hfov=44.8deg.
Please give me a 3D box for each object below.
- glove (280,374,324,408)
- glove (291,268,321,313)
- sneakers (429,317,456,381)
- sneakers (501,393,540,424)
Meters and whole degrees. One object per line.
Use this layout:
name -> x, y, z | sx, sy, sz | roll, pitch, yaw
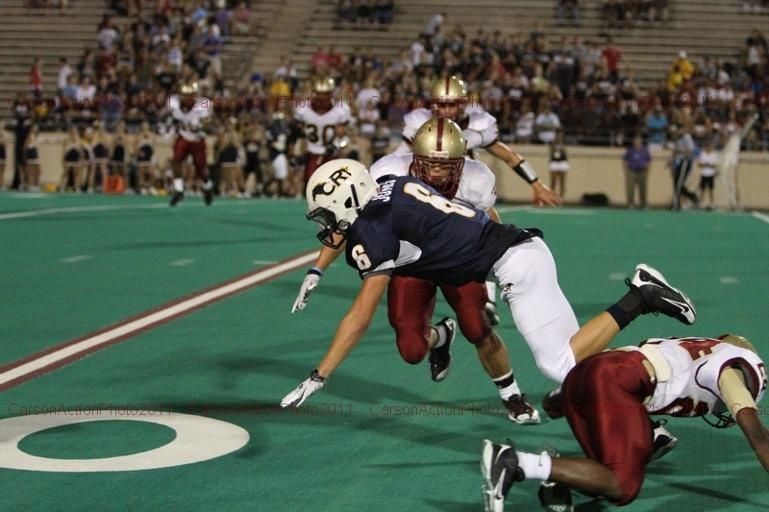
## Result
glove -> -0.451, 0.873, 5.760 | 0.303, 0.078, 0.191 | -35, 24, -18
glove -> -0.665, 0.319, 8.057 | 0.118, 0.382, 0.251 | 33, -1, -10
sneakers -> 0.464, 0.704, 7.025 | 0.162, 0.460, 0.210 | 5, -3, 41
sneakers -> 0.946, 1.072, 6.529 | 0.156, 0.119, 0.278 | -4, 3, -19
